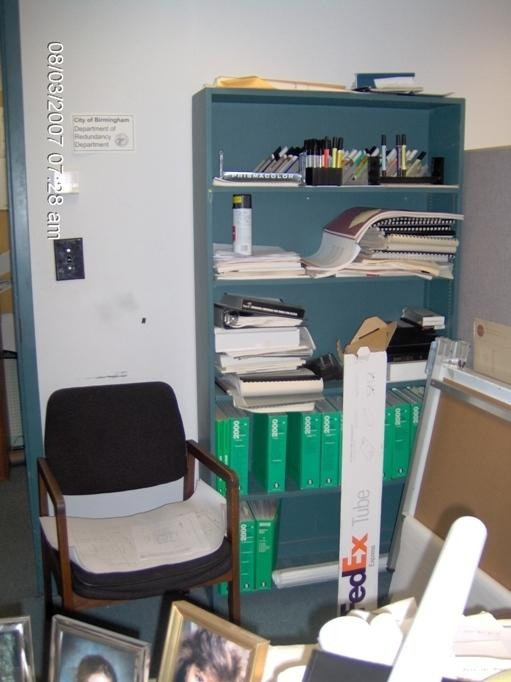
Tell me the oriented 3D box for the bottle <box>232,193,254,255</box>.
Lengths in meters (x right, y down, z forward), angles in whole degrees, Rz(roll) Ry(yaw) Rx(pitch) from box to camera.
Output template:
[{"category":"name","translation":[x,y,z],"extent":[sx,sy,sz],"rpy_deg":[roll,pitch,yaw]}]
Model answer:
[{"category":"bottle","translation":[-0.044,-0.409,2.037],"extent":[0.064,0.207,0.086],"rpy_deg":[-3,17,-4]}]

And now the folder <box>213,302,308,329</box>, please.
[{"category":"folder","translation":[0.023,-0.082,2.061],"extent":[0.304,0.090,0.040],"rpy_deg":[-5,17,-11]}]

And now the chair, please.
[{"category":"chair","translation":[-0.389,0.606,1.824],"extent":[0.578,0.835,0.587],"rpy_deg":[-2,8,-33]}]
